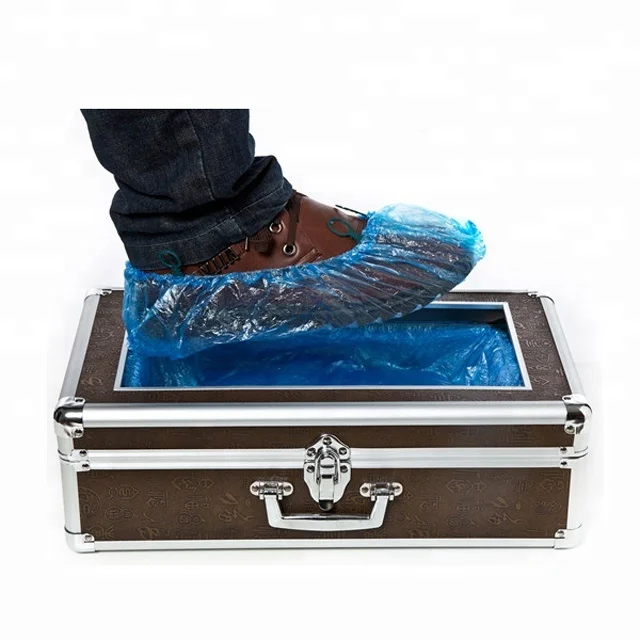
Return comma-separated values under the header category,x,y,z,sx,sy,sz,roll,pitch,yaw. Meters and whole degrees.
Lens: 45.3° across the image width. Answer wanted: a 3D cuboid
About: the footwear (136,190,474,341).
category,x,y,z,sx,sy,sz,roll,pitch,yaw
footwear,0.011,-0.092,1.403,0.713,0.214,0.232,-9,6,35
